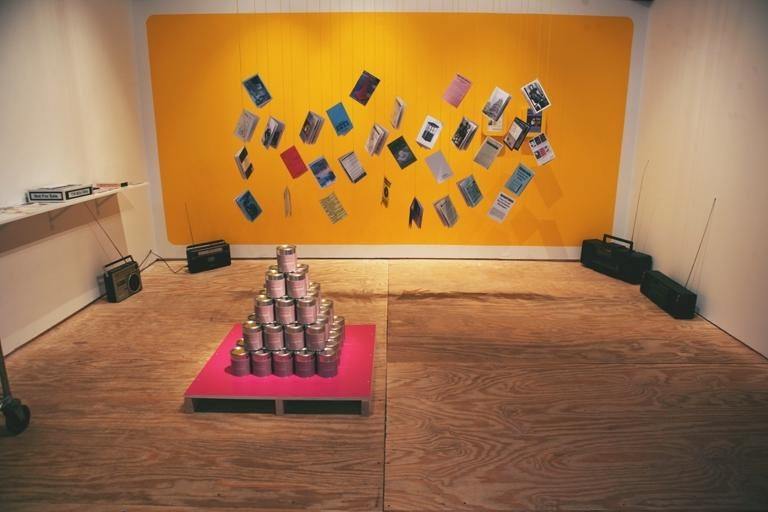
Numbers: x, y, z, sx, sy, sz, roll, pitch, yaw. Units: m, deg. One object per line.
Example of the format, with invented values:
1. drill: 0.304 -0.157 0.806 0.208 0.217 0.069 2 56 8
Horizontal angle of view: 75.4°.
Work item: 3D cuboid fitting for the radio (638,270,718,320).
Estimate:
1. radio: 2.788 0.378 4.919 0.196 0.301 0.583 -1 16 -6
